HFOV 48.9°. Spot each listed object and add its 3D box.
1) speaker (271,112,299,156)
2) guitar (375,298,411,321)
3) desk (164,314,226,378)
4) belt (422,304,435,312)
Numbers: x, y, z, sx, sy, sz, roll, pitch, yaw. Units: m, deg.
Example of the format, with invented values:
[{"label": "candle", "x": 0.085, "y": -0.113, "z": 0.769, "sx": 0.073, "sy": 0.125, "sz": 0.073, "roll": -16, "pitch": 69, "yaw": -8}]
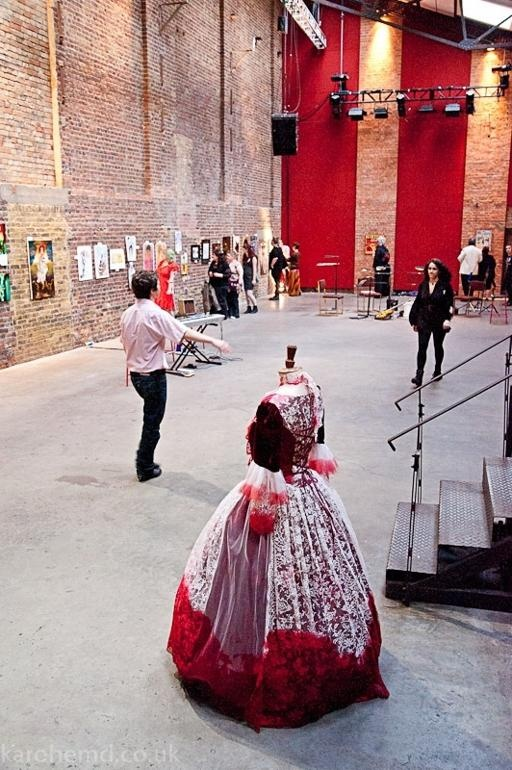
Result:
[{"label": "speaker", "x": 0.940, "y": -8.653, "z": 19.448, "sx": 0.894, "sy": 1.461, "sz": 0.611, "roll": 1, "pitch": 8, "yaw": 13}, {"label": "guitar", "x": 4.360, "y": -2.418, "z": 17.872, "sx": 0.952, "sy": 0.643, "sz": 4.199, "roll": 2, "pitch": 8, "yaw": 15}, {"label": "desk", "x": -1.220, "y": -0.650, "z": 10.574, "sx": 1.081, "sy": 1.142, "sz": 1.712, "roll": 3, "pitch": 11, "yaw": 9}, {"label": "belt", "x": 2.528, "y": -1.109, "z": 8.231, "sx": 0.030, "sy": 0.109, "sz": 0.134, "roll": -6, "pitch": 10, "yaw": -36}]
